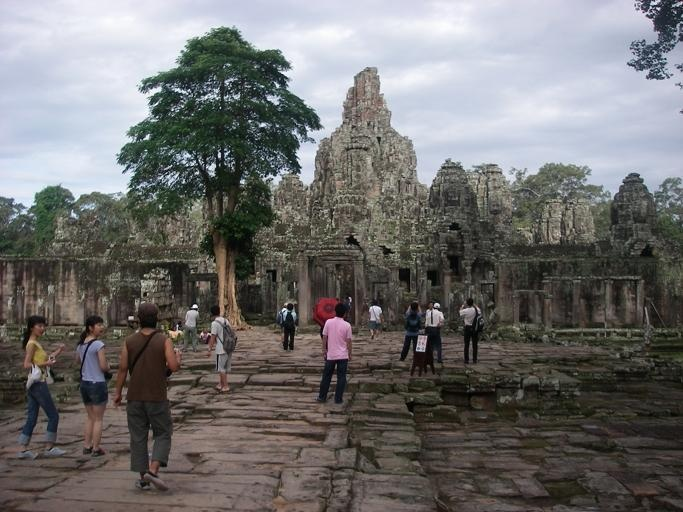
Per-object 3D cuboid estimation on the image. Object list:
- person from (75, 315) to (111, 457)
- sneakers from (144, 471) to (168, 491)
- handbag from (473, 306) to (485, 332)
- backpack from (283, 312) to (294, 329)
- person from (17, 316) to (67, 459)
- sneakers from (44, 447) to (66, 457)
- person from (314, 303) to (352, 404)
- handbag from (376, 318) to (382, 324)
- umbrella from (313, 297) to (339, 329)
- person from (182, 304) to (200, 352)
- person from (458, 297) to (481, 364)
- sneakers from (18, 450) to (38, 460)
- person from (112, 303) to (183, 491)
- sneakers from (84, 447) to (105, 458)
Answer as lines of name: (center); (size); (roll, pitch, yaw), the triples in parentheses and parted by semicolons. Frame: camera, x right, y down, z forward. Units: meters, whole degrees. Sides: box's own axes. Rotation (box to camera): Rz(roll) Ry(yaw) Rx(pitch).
person: (-4.182, 2.167, 10.624); (0.483, 2.322, 0.788); (0, -4, -22)
sneakers: (-2.721, 3.303, 9.197); (0.116, 0.322, 0.131); (-50, 1, 33)
handbag: (3.638, 1.692, 16.885); (0.174, 0.656, 0.498); (-3, -4, 22)
backpack: (-1.531, 1.876, 18.586); (0.337, 0.520, 0.358); (0, -4, -18)
person: (-5.195, 2.194, 10.937); (0.649, 2.333, 1.264); (0, -4, -26)
sneakers: (-4.752, 3.281, 10.533); (0.352, 0.140, 0.133); (2, 5, -9)
person: (-0.191, 2.048, 13.366); (0.690, 2.095, 1.070); (-1, -3, -3)
handbag: (1.281, 2.312, 22.065); (0.167, 0.201, 0.302); (-2, -3, 30)
umbrella: (-0.322, 1.361, 15.559); (0.714, 0.695, 0.730); (13, -12, -23)
person: (-4.671, 2.193, 19.493); (0.424, 1.362, 1.958); (0, -4, -14)
person: (3.449, 1.974, 16.819); (0.533, 1.691, 0.994); (-2, -4, 11)
sneakers: (-5.172, 3.299, 10.435); (0.269, 0.115, 0.118); (3, 1, -10)
person: (-2.861, 2.055, 9.327); (0.915, 2.716, 0.413); (-2, -3, 12)
sneakers: (-4.103, 3.271, 10.457); (0.337, 0.133, 0.136); (1, 2, -2)
